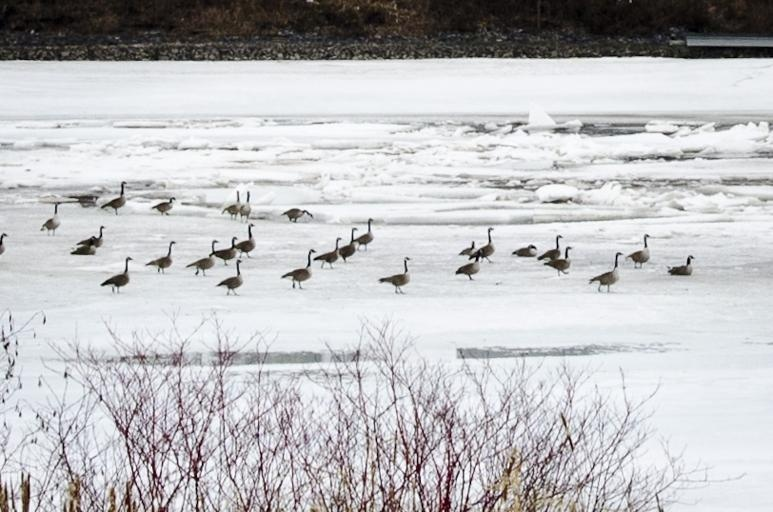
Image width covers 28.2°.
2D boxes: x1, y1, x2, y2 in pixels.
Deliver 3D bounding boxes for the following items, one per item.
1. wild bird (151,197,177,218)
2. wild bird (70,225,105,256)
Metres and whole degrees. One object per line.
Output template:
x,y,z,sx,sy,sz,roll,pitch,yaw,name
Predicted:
-9.654,-2.243,66.183,0.765,0.587,1.426,-1,18,-1,wild bird
-12.424,-0.450,61.904,1.818,1.316,0.646,-1,0,6,wild bird
